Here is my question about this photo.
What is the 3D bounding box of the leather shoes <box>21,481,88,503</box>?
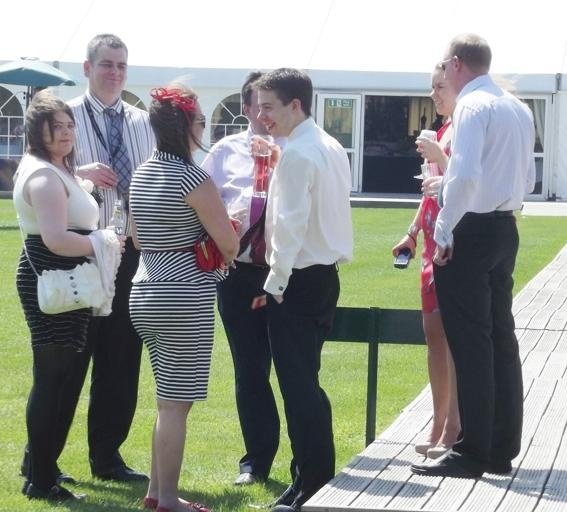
[{"bbox_3d":[-1.140,1.177,4.593,0.304,0.126,0.118,0,0,-11],"label":"leather shoes"}]

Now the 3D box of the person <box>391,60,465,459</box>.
[{"bbox_3d":[0.885,0.064,4.793,0.477,1.715,0.775,2,4,13],"label":"person"}]

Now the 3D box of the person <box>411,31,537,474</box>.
[{"bbox_3d":[0.923,-0.005,4.394,0.499,2.071,0.445,3,7,11],"label":"person"}]

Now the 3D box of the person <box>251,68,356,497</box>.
[{"bbox_3d":[0.087,0.152,4.505,0.474,2.103,0.410,2,7,4],"label":"person"}]

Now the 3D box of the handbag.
[{"bbox_3d":[-1.038,0.157,4.509,0.328,0.234,0.122,0,7,-16],"label":"handbag"}]

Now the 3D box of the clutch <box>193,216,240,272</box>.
[{"bbox_3d":[-0.322,-0.039,4.284,0.129,0.180,0.117,-10,24,-42],"label":"clutch"}]

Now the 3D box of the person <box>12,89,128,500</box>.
[{"bbox_3d":[-1.129,0.216,4.779,0.533,2.010,0.660,0,-3,-35],"label":"person"}]

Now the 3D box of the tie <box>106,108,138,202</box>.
[{"bbox_3d":[-0.884,-0.578,5.039,0.091,0.462,0.047,10,20,37],"label":"tie"}]
